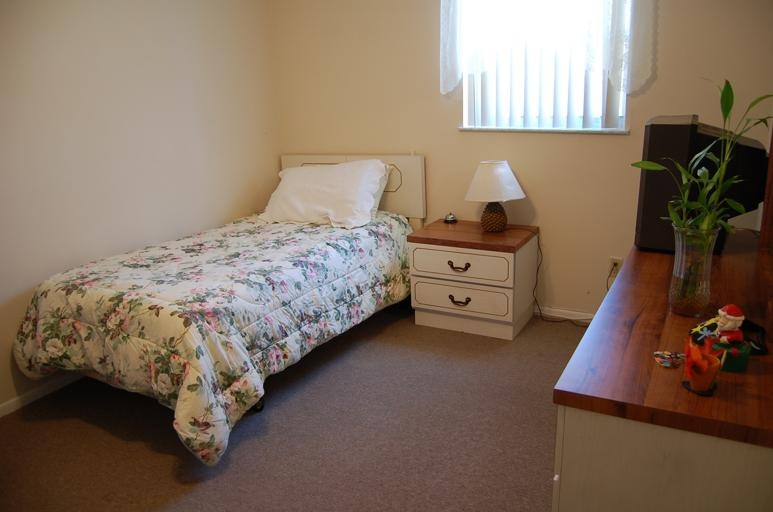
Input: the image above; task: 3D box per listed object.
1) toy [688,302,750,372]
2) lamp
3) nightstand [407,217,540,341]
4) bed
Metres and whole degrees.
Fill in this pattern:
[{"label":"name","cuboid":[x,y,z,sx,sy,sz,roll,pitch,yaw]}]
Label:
[{"label":"toy","cuboid":[1.073,0.252,1.739,0.191,0.202,0.149,2,18,21]},{"label":"lamp","cuboid":[0.716,-0.431,3.702,0.437,0.489,0.445,-3,12,-5]},{"label":"nightstand","cuboid":[0.621,0.146,3.774,0.732,0.647,0.538,7,20,31]},{"label":"bed","cuboid":[-0.809,0.066,3.215,1.228,0.940,1.775,11,20,32]}]
